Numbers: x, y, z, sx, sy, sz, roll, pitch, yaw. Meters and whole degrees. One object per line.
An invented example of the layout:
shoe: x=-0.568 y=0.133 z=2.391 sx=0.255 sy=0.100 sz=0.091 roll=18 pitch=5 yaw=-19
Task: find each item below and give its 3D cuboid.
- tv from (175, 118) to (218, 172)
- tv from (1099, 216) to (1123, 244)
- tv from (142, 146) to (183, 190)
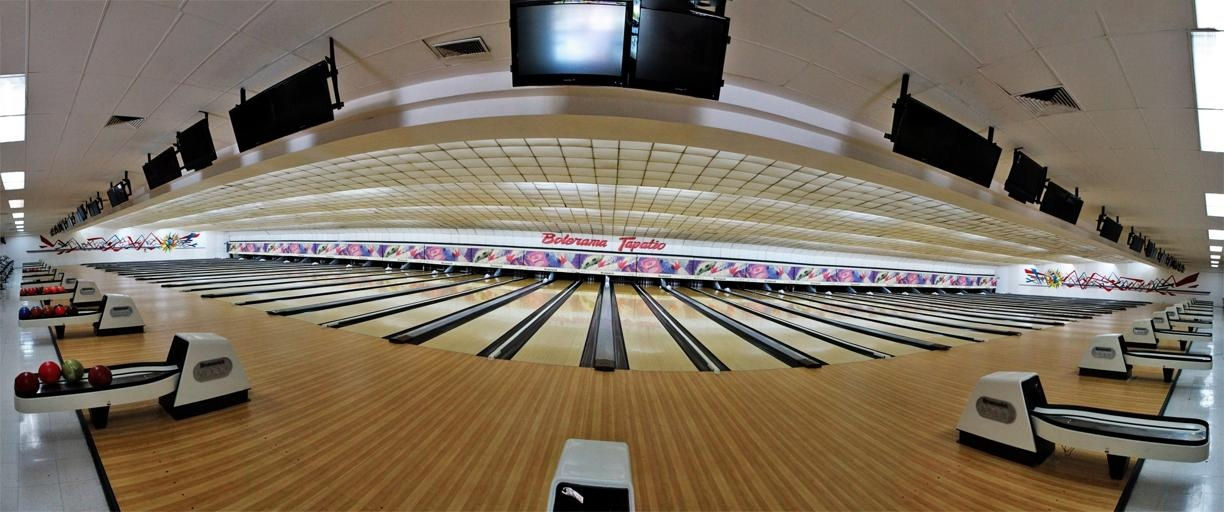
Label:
tv: x=-12.717 y=-3.429 z=15.266 sx=1.765 sy=1.325 sz=0.170 roll=-19 pitch=-1 yaw=14
tv: x=18.665 y=-1.015 z=18.665 sx=1.320 sy=0.543 sz=0.164 roll=2 pitch=2 yaw=-24
tv: x=-14.951 y=-2.962 z=16.608 sx=1.741 sy=0.799 sz=0.182 roll=-10 pitch=5 yaw=28
